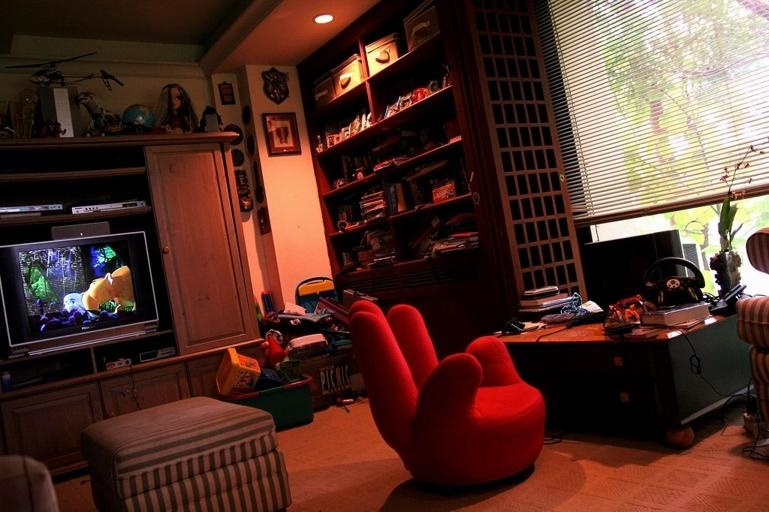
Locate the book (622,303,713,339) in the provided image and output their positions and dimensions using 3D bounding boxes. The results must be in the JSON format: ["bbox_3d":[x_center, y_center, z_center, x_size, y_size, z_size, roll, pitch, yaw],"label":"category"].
[{"bbox_3d":[1.706,0.372,3.098,0.602,0.129,0.202,-12,6,-21],"label":"book"}]

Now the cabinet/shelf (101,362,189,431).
[{"bbox_3d":[-2.002,1.283,4.423,0.763,0.303,0.664,-9,45,-29],"label":"cabinet/shelf"}]

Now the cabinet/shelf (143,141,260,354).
[{"bbox_3d":[-1.697,-0.126,4.883,0.849,1.965,0.288,-8,2,17],"label":"cabinet/shelf"}]

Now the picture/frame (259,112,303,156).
[{"bbox_3d":[-1.145,-1.375,5.787,0.401,0.448,0.032,-17,17,-41],"label":"picture/frame"}]

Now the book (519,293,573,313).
[{"bbox_3d":[1.262,0.362,3.990,0.232,0.052,0.234,-7,4,-17],"label":"book"}]

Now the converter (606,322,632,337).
[{"bbox_3d":[1.393,0.429,3.066,0.104,0.033,0.100,-5,8,14],"label":"converter"}]

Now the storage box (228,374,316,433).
[{"bbox_3d":[-0.943,1.262,4.420,0.636,0.298,0.427,-11,2,-27],"label":"storage box"}]

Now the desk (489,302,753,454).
[{"bbox_3d":[1.652,0.923,3.690,1.126,0.677,1.447,1,-13,-33],"label":"desk"}]
